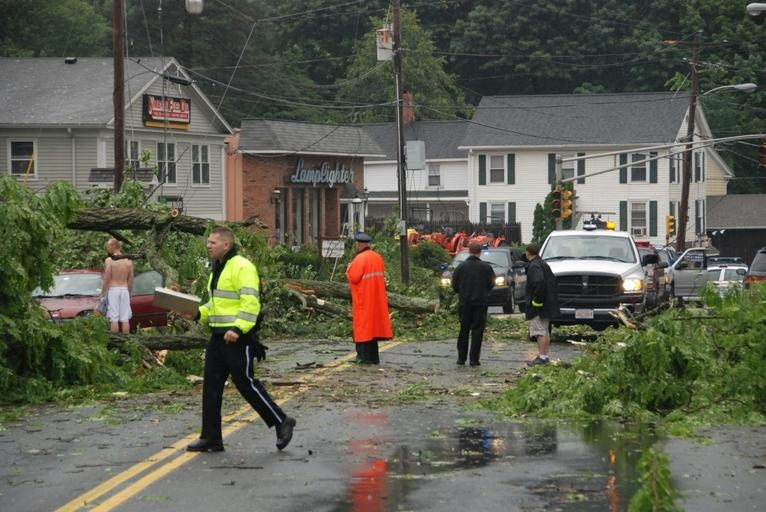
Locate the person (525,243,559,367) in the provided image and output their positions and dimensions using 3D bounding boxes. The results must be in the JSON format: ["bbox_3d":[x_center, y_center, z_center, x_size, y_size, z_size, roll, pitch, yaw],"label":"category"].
[{"bbox_3d":[3.818,1.184,34.374,0.739,2.901,0.792,0,0,5],"label":"person"}]

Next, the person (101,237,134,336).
[{"bbox_3d":[-6.744,0.758,35.889,0.541,2.337,0.665,0,1,20],"label":"person"}]

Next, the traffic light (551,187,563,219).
[{"bbox_3d":[5.949,-1.774,48.933,0.345,0.985,0.732,0,1,4],"label":"traffic light"}]

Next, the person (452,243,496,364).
[{"bbox_3d":[2.195,1.203,35.256,0.987,3.026,1.049,0,0,3],"label":"person"}]

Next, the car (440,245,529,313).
[{"bbox_3d":[3.335,0.926,44.283,2.421,2.463,1.925,0,1,19],"label":"car"}]

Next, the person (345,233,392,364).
[{"bbox_3d":[-0.506,1.033,35.040,1.203,3.044,1.390,-2,-3,36],"label":"person"}]
